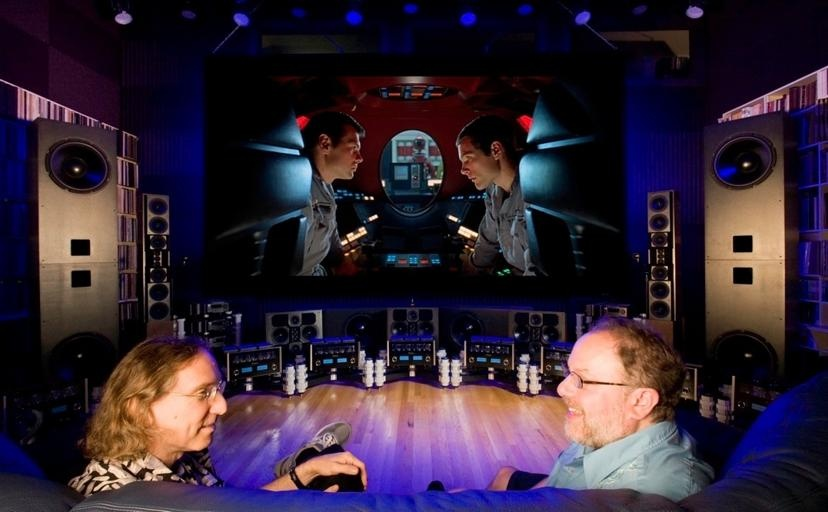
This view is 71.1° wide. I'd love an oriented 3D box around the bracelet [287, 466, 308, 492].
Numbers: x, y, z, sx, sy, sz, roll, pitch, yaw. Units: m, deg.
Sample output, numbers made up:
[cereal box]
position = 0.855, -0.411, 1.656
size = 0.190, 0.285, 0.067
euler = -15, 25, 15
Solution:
[bracelet]
position = -0.985, 1.864, 4.835
size = 0.061, 0.197, 0.201
euler = -36, 5, -23
